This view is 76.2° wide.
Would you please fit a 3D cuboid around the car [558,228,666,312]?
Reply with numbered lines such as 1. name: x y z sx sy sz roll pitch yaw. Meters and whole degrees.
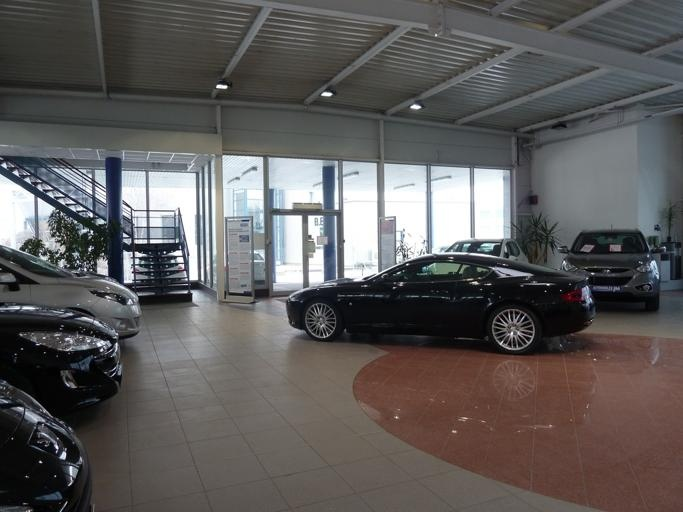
1. car: 6.045 0.267 9.605 1.712 1.240 3.020 -3 -7 32

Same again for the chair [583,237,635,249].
1. chair: 5.922 -0.289 9.552 0.406 0.169 0.641 -6 6 -39

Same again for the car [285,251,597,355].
1. car: 1.316 0.606 6.511 3.689 0.999 1.648 2 -1 15
